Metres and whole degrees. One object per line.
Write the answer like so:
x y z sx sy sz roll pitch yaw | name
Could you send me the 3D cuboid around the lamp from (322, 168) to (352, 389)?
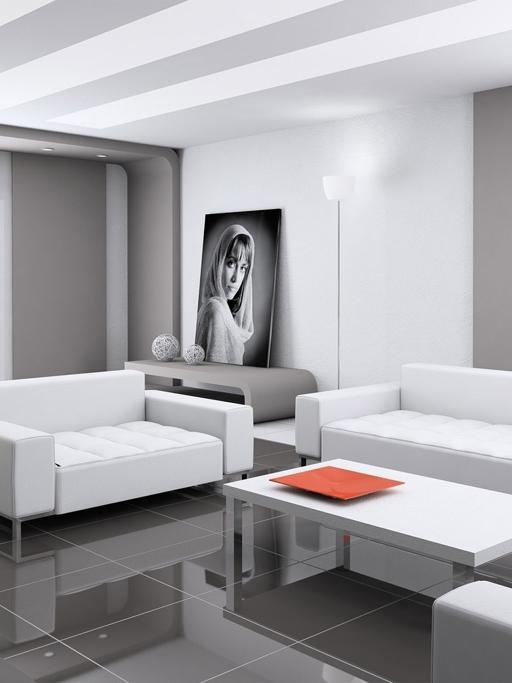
0.883 -0.580 6.042 0.279 2.176 0.884 0 -2 10 | lamp
